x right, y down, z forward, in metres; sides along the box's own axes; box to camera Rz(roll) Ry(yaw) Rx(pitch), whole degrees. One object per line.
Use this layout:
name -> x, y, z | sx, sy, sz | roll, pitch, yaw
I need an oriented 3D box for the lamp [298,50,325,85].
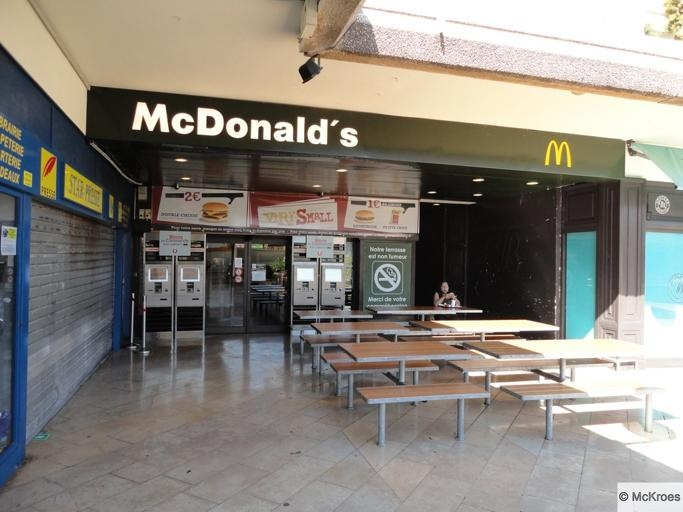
lamp -> -0.333, -2.136, 5.658 | 0.328, 0.299, 0.190 | 4, 5, 34
